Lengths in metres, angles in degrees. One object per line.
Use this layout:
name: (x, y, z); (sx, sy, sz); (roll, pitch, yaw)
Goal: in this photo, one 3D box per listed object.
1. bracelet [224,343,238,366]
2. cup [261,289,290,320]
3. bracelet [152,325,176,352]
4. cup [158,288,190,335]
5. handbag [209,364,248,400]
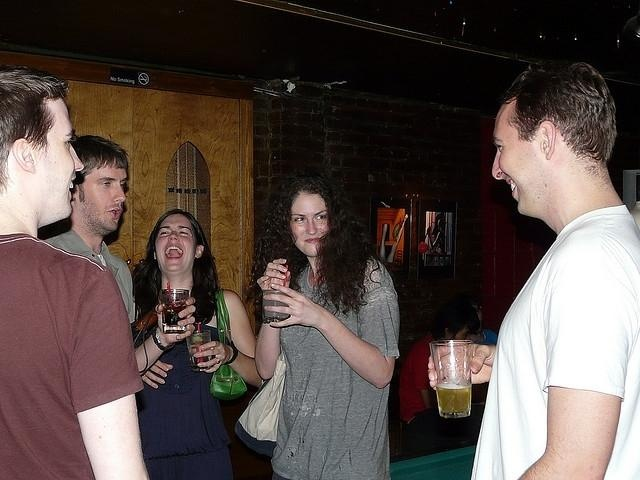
bracelet: (-0.429, 0.562, 2.353); (0.041, 0.080, 0.062); (-22, -16, 29)
cup: (-0.175, 0.262, 1.974); (0.114, 0.140, 0.113); (-2, -9, 0)
bracelet: (-0.711, 0.451, 2.230); (0.039, 0.098, 0.087); (-22, 15, -29)
cup: (-0.650, 0.323, 2.175); (0.129, 0.197, 0.114); (1, 2, -10)
handbag: (-0.448, 0.678, 2.316); (0.216, 0.215, 0.103); (3, 0, -20)
